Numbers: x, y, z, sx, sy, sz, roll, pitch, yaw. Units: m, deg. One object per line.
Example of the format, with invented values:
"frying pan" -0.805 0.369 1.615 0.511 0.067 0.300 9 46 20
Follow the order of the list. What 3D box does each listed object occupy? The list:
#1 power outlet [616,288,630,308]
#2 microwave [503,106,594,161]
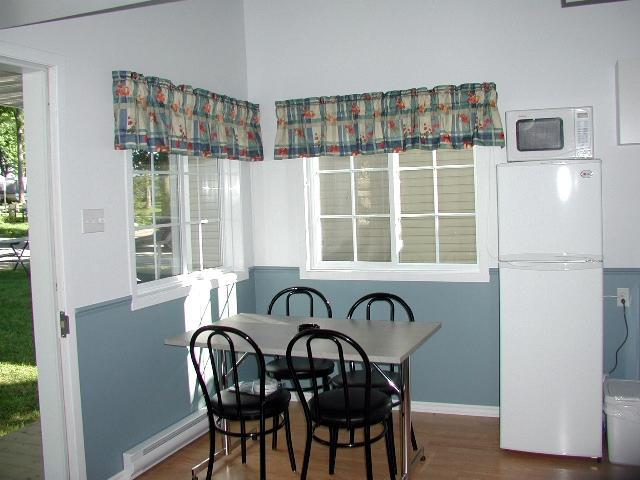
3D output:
"power outlet" 2.344 0.446 3.956 0.091 0.145 0.031 -2 5 -2
"microwave" 1.638 -0.772 3.661 0.640 0.433 0.399 0 2 15
